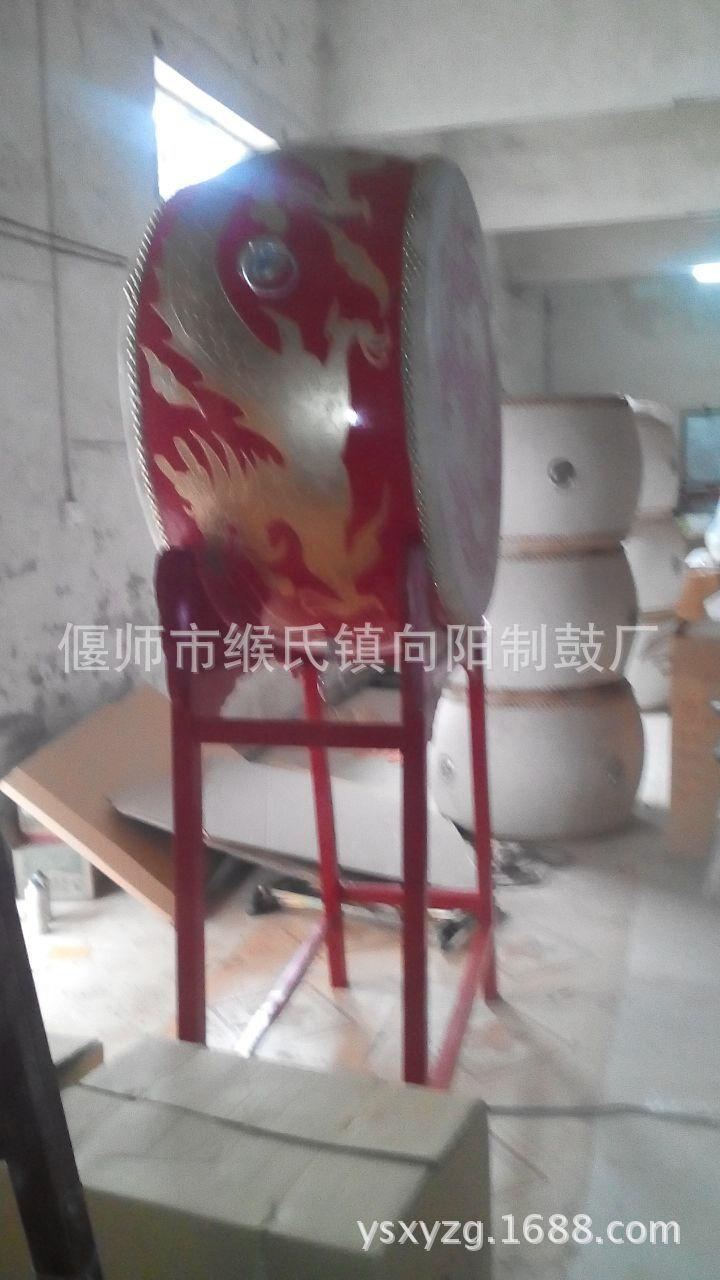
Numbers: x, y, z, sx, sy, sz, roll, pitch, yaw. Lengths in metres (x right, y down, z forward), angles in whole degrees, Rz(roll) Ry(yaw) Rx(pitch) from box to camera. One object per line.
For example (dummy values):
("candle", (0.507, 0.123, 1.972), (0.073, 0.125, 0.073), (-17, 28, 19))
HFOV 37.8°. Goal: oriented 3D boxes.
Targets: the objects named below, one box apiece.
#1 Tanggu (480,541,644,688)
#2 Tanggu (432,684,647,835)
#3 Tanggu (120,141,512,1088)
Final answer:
("Tanggu", (0.175, -0.024, 0.975), (0.144, 0.137, 0.139), (-5, 9, -2))
("Tanggu", (0.162, 0.101, 0.882), (0.147, 0.105, 0.149), (-3, -6, -3))
("Tanggu", (-0.006, 0.004, 0.569), (0.183, 0.446, 0.283), (0, 10, 20))
